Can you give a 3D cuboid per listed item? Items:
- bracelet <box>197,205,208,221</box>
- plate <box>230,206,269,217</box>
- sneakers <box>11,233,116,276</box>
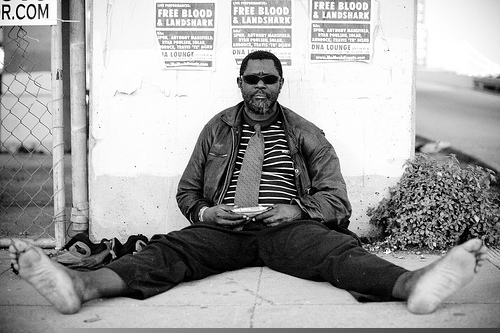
[{"bbox_3d":[-0.418,0.427,4.303,0.047,0.091,0.126,-24,26,20],"label":"bracelet"},{"bbox_3d":[-0.003,0.387,4.134,0.224,0.048,0.113,-4,5,-3],"label":"plate"},{"bbox_3d":[-1.539,0.749,4.036,0.630,0.194,0.273,16,44,12],"label":"sneakers"}]
